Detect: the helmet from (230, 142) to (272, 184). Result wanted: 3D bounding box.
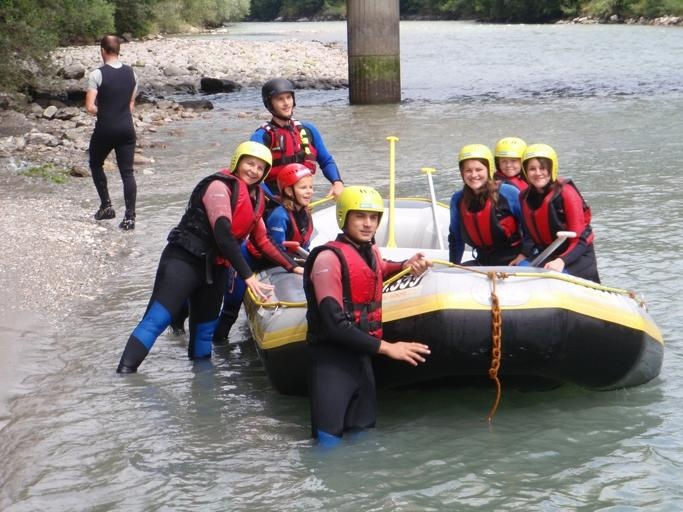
[{"bbox_3d":[-0.689,-0.746,6.458,0.344,0.245,0.364,18,2,-17],"label":"helmet"}]

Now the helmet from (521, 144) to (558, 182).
[{"bbox_3d":[1.667,-0.744,6.542,0.376,0.222,0.246,13,-11,-9],"label":"helmet"}]

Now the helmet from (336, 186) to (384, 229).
[{"bbox_3d":[0.121,-0.317,5.532,0.344,0.193,0.310,6,2,5],"label":"helmet"}]

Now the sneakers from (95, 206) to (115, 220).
[{"bbox_3d":[-2.948,-0.525,10.107,0.283,0.116,0.153,3,3,-3],"label":"sneakers"}]

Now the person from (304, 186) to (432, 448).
[{"bbox_3d":[0.137,0.385,5.582,0.975,1.727,0.586,-10,16,-20],"label":"person"}]

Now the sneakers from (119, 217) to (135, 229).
[{"bbox_3d":[-2.601,-0.380,9.812,0.215,0.141,0.119,2,3,20],"label":"sneakers"}]
